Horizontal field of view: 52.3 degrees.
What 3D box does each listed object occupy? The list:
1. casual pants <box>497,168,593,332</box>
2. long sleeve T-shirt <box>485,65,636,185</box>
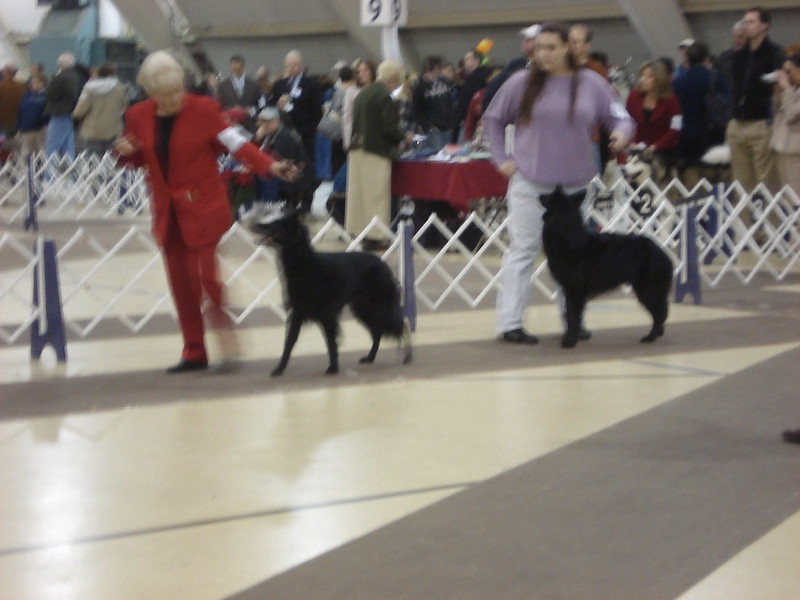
[{"bbox_3d":[0.997,-0.254,5.477,0.590,0.367,1.485,0,46,8],"label":"casual pants"},{"bbox_3d":[1.029,-0.971,5.421,1.093,1.034,0.684,1,0,3],"label":"long sleeve T-shirt"}]
